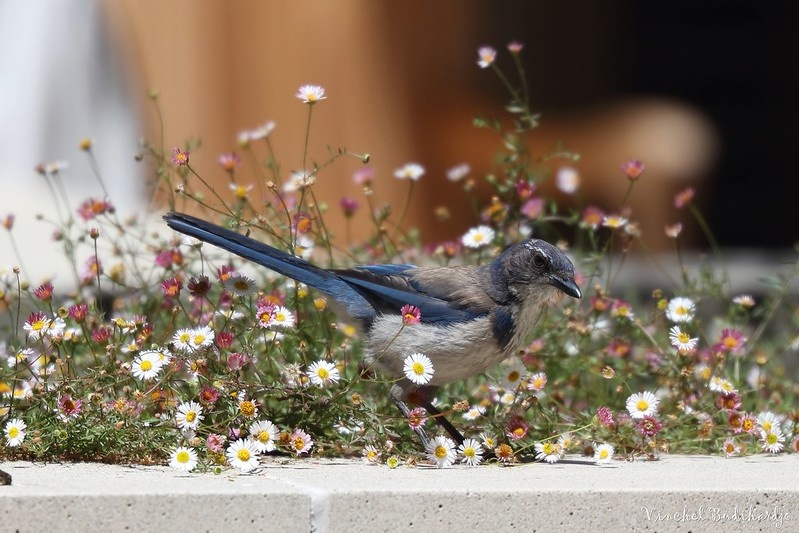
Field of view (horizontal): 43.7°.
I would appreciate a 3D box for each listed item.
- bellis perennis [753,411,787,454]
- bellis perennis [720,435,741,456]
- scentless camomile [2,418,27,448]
[{"bbox_3d":[2.260,1.026,6.087,0.229,0.231,0.070,-52,11,-24],"label":"bellis perennis"},{"bbox_3d":[2.006,1.101,6.114,0.102,0.108,0.044,-4,-14,-39],"label":"bellis perennis"},{"bbox_3d":[-2.212,0.967,5.741,0.126,0.142,0.147,-13,24,-24],"label":"scentless camomile"}]
